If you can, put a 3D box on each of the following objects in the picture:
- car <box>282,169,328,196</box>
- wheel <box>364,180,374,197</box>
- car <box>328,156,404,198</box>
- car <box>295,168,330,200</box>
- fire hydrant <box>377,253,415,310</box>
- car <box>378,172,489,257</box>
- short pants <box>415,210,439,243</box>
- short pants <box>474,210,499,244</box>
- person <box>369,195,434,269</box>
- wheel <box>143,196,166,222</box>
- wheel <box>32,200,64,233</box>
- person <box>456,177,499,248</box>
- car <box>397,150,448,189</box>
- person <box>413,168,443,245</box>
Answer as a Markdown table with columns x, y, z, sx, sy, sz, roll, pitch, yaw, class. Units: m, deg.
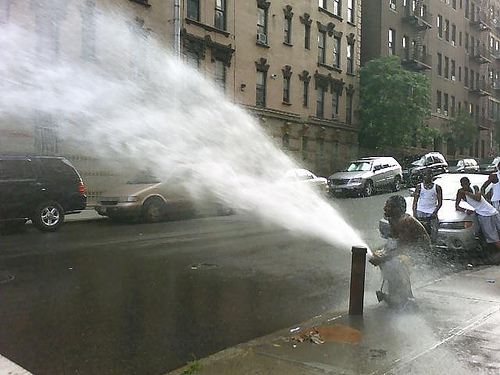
| x | y | z | sx | sy | sz | roll | pitch | yaw | class |
| --- | --- | --- | --- | --- | --- | --- | --- | --- | --- |
| 1.940 | -0.202 | 16.861 | 0.966 | 0.892 | 2.460 | 6 | 11 | 44 | car |
| 5.863 | 0.018 | 23.945 | 0.212 | 0.724 | 0.672 | 5 | -4 | 40 | wheel |
| 5.924 | -0.544 | 25.002 | 1.865 | 1.718 | 4.140 | -1 | 0 | 42 | car |
| 2.636 | -0.173 | 19.897 | 0.947 | 0.830 | 2.305 | 4 | -6 | 40 | car |
| 2.346 | 1.507 | 7.764 | 0.551 | 0.878 | 0.319 | 3 | 9 | 22 | fire hydrant |
| 4.839 | 0.494 | 11.448 | 1.492 | 1.256 | 3.435 | 0 | -1 | 41 | car |
| 3.961 | 0.897 | 10.769 | 0.206 | 0.636 | 0.488 | 3 | 5 | -13 | short pants |
| 5.289 | 0.791 | 10.886 | 0.479 | 0.934 | 0.697 | -11 | 2 | 27 | short pants |
| 2.516 | 0.801 | 7.937 | 1.119 | 1.278 | 0.527 | -4 | 9 | -22 | person |
| -3.172 | 0.701 | 15.866 | 0.694 | 0.839 | 0.261 | -6 | 5 | -37 | wheel |
| -5.869 | 0.828 | 13.986 | 0.290 | 0.996 | 0.819 | 0 | -4 | 31 | wheel |
| 5.066 | 0.548 | 10.736 | 0.901 | 1.441 | 0.478 | 3 | 9 | 24 | person |
| 10.808 | -1.035 | 30.237 | 4.212 | 2.205 | 1.919 | -7 | 1 | -36 | car |
| 4.087 | 0.604 | 11.158 | 0.556 | 2.118 | 0.562 | 3 | 18 | 22 | person |
